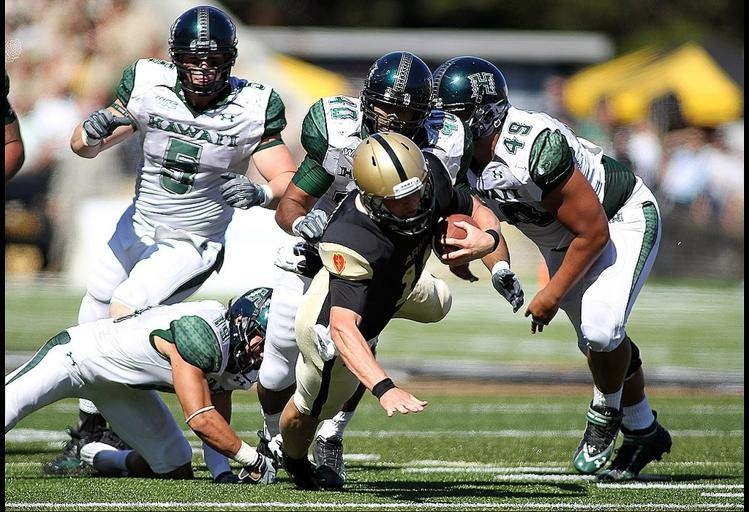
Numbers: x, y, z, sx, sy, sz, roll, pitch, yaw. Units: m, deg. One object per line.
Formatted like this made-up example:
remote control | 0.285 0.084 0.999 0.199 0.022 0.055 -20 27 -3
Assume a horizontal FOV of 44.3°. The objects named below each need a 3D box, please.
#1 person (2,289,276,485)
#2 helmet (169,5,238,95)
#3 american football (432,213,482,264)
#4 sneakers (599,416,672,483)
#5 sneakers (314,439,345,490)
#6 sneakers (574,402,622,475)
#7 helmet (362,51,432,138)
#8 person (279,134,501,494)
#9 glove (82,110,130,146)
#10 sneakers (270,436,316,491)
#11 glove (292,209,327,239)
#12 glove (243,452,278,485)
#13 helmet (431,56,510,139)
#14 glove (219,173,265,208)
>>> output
person | -1.132 0.669 4.665 1.257 0.985 0.503 1 4 2
helmet | -0.959 -1.221 5.431 0.422 0.485 0.503 -1 31 -8
american football | 0.383 -0.131 4.296 0.165 0.130 0.129 11 -2 37
sneakers | 1.402 1.050 4.993 0.356 0.180 0.119 -37 27 -13
sneakers | -0.236 1.090 4.825 0.094 0.122 0.284 2 29 -13
sneakers | 1.212 0.987 5.014 0.163 0.480 0.235 17 -4 25
helmet | 0.112 -0.775 4.564 0.342 0.408 0.426 15 20 0
person | -0.023 0.304 4.374 1.062 1.771 0.941 3 4 30
glove | -1.503 -0.712 5.220 0.236 0.116 0.179 -20 48 14
sneakers | -0.414 1.050 4.657 0.092 0.270 0.121 -35 15 4
glove | -0.311 -0.150 4.471 0.124 0.076 0.166 35 -19 -16
glove | -0.627 1.073 4.681 0.274 0.122 0.093 -1 34 29
helmet | 0.504 -0.836 4.918 0.469 0.379 0.365 4 -8 -25
glove | -0.679 -0.317 4.923 0.191 0.217 0.264 0 -5 21
